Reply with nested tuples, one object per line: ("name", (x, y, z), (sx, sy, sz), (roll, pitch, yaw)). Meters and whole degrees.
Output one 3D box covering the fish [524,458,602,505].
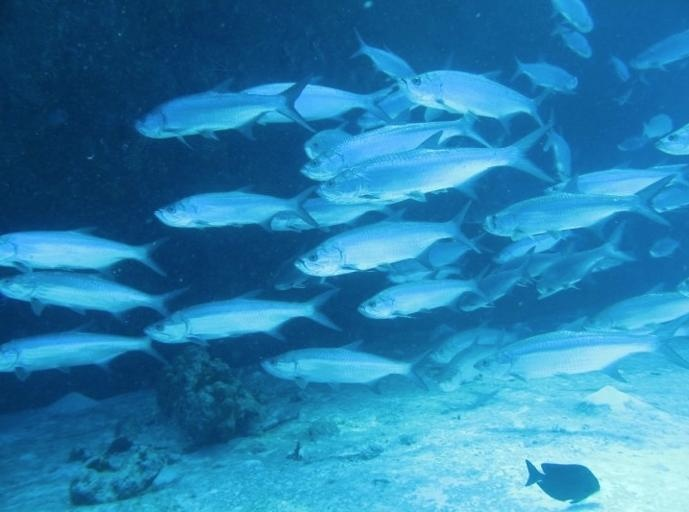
("fish", (3.005, 3.091, 9.724), (1.110, 0.498, 0.233), (-4, -19, 40))
